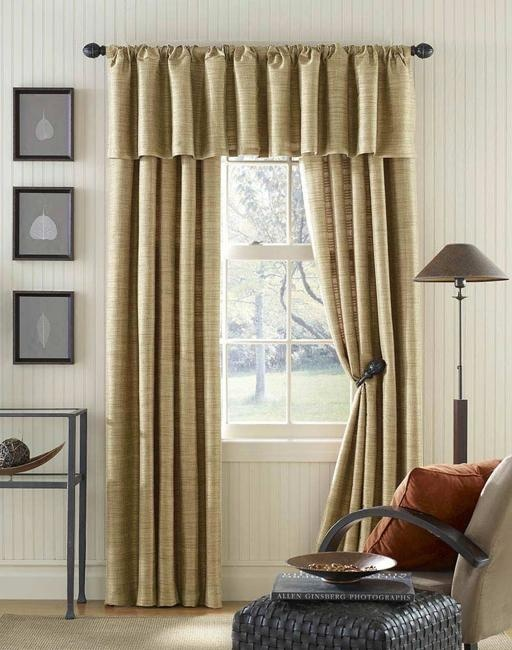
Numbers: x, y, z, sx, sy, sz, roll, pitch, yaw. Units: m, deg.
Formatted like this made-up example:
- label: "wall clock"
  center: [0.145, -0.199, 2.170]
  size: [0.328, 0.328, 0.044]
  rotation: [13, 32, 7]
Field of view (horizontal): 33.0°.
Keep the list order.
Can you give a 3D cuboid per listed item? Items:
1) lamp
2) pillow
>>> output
- label: "lamp"
  center: [0.904, 0.114, 3.777]
  size: [0.384, 0.975, 0.567]
  rotation: [-1, 2, 11]
- label: "pillow"
  center: [0.606, 0.658, 2.971]
  size: [0.156, 0.379, 0.388]
  rotation: [18, 10, 18]
